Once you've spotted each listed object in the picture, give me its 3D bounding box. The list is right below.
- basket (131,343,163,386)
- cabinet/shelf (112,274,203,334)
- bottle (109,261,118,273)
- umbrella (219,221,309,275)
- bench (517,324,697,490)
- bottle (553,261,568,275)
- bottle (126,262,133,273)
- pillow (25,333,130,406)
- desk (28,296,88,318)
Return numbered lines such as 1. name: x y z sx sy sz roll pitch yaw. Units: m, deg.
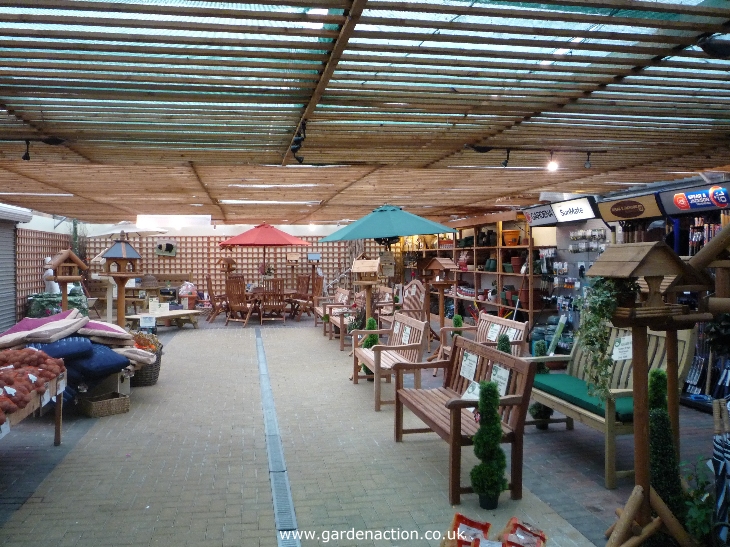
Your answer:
1. basket: -3.443 1.475 8.167 0.358 0.569 0.824 0 4 0
2. cabinet/shelf: -5.988 0.900 14.798 2.700 1.297 2.668 0 -2 -18
3. bottle: -4.502 -0.113 9.141 0.132 0.176 0.145 0 5 0
4. umbrella: -3.022 -0.757 15.103 2.416 1.174 2.049 0 2 -10
5. bench: 2.257 1.302 4.783 0.989 1.013 1.833 2 -5 0
6. bottle: 3.941 -0.116 10.277 0.291 0.259 0.439 1 -2 0
7. bottle: -4.305 -0.117 9.310 0.121 0.175 0.259 -2 5 -23
8. pillow: -3.396 1.113 6.136 1.102 0.274 0.882 8 -2 5
9. desk: -8.644 0.903 14.161 1.954 0.571 0.651 1 5 9
